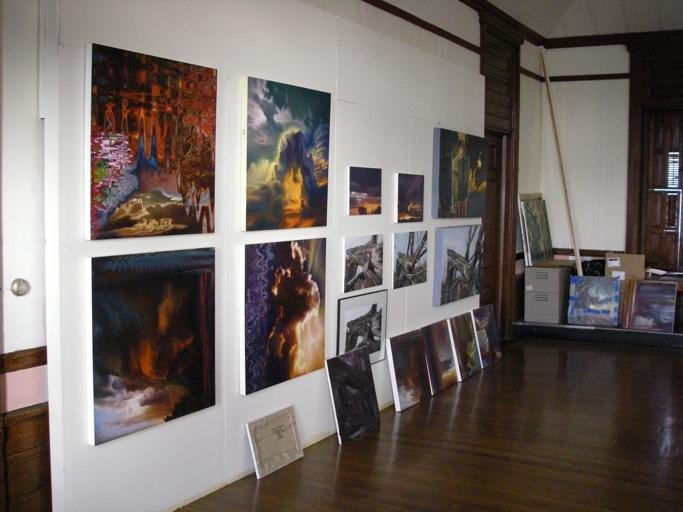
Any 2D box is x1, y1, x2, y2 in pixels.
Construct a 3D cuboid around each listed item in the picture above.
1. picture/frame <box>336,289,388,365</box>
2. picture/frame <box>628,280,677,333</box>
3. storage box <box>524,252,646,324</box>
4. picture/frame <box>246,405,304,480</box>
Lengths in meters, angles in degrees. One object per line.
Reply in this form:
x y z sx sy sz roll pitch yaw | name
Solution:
0.145 0.561 3.978 0.020 0.638 0.565 7 10 39 | picture/frame
3.926 0.645 6.224 0.492 0.756 0.071 6 -3 30 | picture/frame
3.258 0.415 6.823 1.074 0.811 1.100 2 3 28 | storage box
-0.465 1.257 3.295 0.030 0.371 0.401 -14 -3 34 | picture/frame
